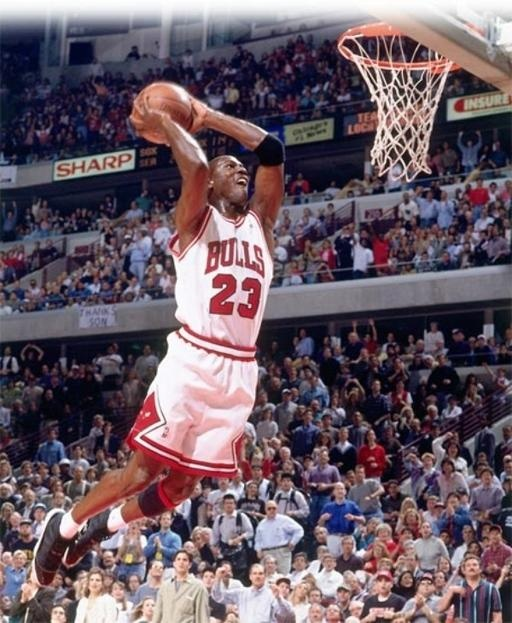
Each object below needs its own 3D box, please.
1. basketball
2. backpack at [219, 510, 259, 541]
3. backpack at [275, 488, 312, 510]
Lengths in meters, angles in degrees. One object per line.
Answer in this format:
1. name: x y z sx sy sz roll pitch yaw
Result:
1. basketball: -0.542 -1.233 7.534 0.423 0.355 0.330 4 -3 35
2. backpack: -0.170 2.267 12.949 0.487 0.422 0.276 -2 -30 12
3. backpack: 0.411 2.035 13.112 0.301 0.283 0.216 -8 1 -20
